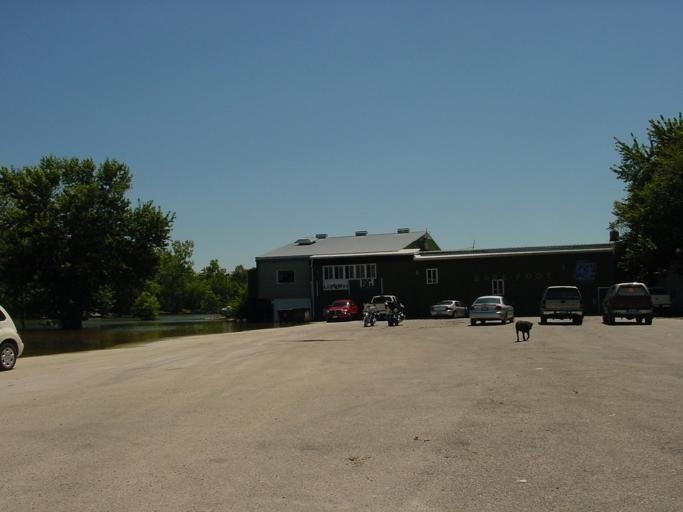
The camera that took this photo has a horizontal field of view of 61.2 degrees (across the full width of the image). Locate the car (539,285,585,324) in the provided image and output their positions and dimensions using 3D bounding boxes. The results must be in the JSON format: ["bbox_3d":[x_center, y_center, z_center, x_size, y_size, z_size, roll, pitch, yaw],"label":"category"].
[{"bbox_3d":[11.915,2.720,31.598,1.965,2.061,2.004,-3,-6,15],"label":"car"}]

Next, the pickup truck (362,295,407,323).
[{"bbox_3d":[3.050,3.541,41.336,1.725,1.664,3.528,-4,-10,15],"label":"pickup truck"}]

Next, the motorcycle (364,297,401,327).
[{"bbox_3d":[2.855,3.879,39.988,1.508,1.386,2.631,-2,1,19],"label":"motorcycle"}]

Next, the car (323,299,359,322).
[{"bbox_3d":[0.050,4.767,50.303,1.769,1.887,3.450,-3,-7,17],"label":"car"}]

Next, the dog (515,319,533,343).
[{"bbox_3d":[7.165,2.899,22.901,0.571,1.017,1.840,1,0,30],"label":"dog"}]

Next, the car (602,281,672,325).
[{"bbox_3d":[15.010,2.555,30.430,1.988,2.113,2.810,-3,-7,18],"label":"car"}]
